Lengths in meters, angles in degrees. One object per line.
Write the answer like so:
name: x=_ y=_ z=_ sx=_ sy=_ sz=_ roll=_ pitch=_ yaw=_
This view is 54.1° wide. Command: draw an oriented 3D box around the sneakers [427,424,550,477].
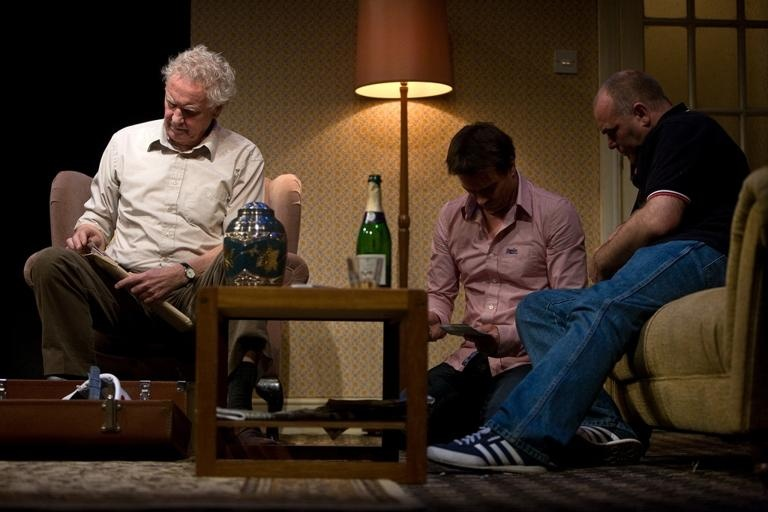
sneakers: x=0.327 y=0.640 z=2.466 sx=0.394 sy=0.172 sz=0.148 roll=11 pitch=-30 yaw=-23

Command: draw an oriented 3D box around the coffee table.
coffee table: x=-0.215 y=0.354 z=2.432 sx=0.613 sy=0.539 sz=0.631 roll=0 pitch=-4 yaw=0

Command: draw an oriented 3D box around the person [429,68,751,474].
person: x=0.817 y=0.025 z=2.792 sx=1.077 sy=1.526 sz=0.631 roll=3 pitch=-16 yaw=-5

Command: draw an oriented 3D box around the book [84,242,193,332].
book: x=-0.950 y=0.132 z=2.904 sx=0.389 sy=0.217 sz=0.210 roll=1 pitch=-1 yaw=-22

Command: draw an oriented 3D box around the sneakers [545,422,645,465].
sneakers: x=0.741 y=0.651 z=2.604 sx=0.370 sy=0.131 sz=0.147 roll=1 pitch=31 yaw=-23

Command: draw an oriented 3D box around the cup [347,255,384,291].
cup: x=-0.055 y=0.048 z=2.355 sx=0.129 sy=0.102 sz=0.165 roll=1 pitch=-1 yaw=-5

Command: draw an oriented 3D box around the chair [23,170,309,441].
chair: x=-0.952 y=0.207 z=3.485 sx=1.017 sy=1.229 sz=1.018 roll=0 pitch=-6 yaw=-6
